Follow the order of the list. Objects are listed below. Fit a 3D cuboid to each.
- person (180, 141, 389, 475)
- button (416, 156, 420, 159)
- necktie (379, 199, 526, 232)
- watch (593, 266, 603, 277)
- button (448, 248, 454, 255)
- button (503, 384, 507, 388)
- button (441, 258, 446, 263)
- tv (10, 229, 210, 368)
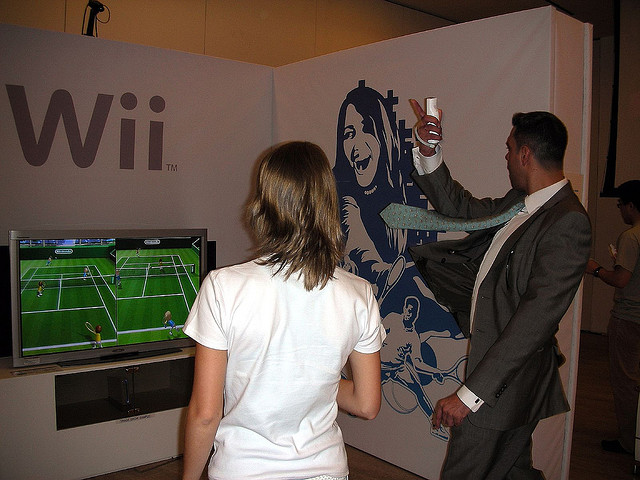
[{"bbox_3d":[-0.134,0.271,1.847,0.777,1.242,0.253,-5,4,-25],"label":"person"},{"bbox_3d":[0.584,-0.482,2.925,0.015,0.015,0.011,-1,4,29],"label":"button"},{"bbox_3d":[0.768,-0.133,2.877,0.859,0.184,0.235,-1,4,38],"label":"necktie"},{"bbox_3d":[2.403,0.278,4.273,0.072,0.089,0.054,15,17,-29],"label":"watch"},{"bbox_3d":[0.767,0.073,2.899,0.021,0.024,0.021,-8,18,-34],"label":"button"},{"bbox_3d":[0.867,0.685,2.310,0.013,0.014,0.025,-3,-12,29],"label":"button"},{"bbox_3d":[0.727,0.125,2.904,0.028,0.026,0.005,-1,4,40],"label":"button"},{"bbox_3d":[-1.512,0.410,3.406,0.832,0.711,0.181,-3,5,-24],"label":"tv"}]
